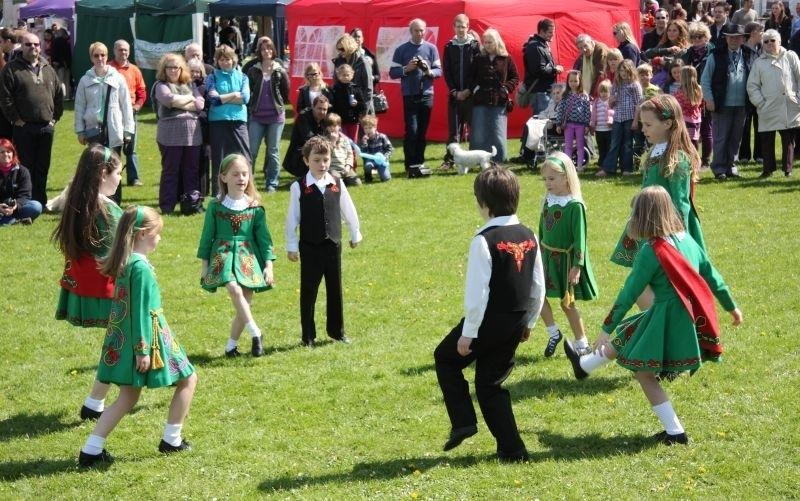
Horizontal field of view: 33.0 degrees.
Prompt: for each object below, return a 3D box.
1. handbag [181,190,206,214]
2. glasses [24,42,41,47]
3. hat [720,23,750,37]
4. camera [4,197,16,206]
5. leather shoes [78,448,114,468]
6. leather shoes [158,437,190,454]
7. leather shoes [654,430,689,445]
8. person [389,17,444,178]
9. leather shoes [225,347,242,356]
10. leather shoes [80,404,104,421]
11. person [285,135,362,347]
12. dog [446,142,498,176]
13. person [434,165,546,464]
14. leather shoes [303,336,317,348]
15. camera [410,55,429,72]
[{"bbox_3d":[-3.401,-0.796,22.229,0.262,0.423,0.401,0,2,15],"label":"handbag"},{"bbox_3d":[-6.060,-3.396,22.235,0.134,0.071,0.307,3,11,26],"label":"glasses"},{"bbox_3d":[5.793,-3.805,23.178,0.405,0.160,0.481,3,5,22],"label":"hat"},{"bbox_3d":[-6.329,-0.801,21.832,0.208,0.124,0.092,-5,9,-19],"label":"camera"},{"bbox_3d":[-3.700,2.509,16.421,0.471,0.234,0.182,-1,3,-24],"label":"leather shoes"},{"bbox_3d":[-2.781,2.410,16.609,0.407,0.192,0.161,0,4,-18],"label":"leather shoes"},{"bbox_3d":[3.318,2.240,16.386,0.378,0.191,0.163,0,3,24],"label":"leather shoes"},{"bbox_3d":[0.266,-2.800,24.370,0.804,3.037,0.858,1,-1,-6],"label":"person"},{"bbox_3d":[-2.239,1.347,18.096,0.172,0.092,0.101,0,8,-23],"label":"leather shoes"},{"bbox_3d":[-3.841,2.040,17.042,0.382,0.189,0.142,0,6,-36],"label":"leather shoes"},{"bbox_3d":[-1.056,-0.147,18.273,0.960,2.808,0.386,-2,7,-7],"label":"person"},{"bbox_3d":[1.457,-1.639,24.050,1.164,0.793,0.406,4,7,16],"label":"dog"},{"bbox_3d":[1.102,0.767,16.240,1.272,3.509,0.588,0,7,7],"label":"person"},{"bbox_3d":[-1.232,1.238,18.271,0.202,0.169,0.078,-1,3,23],"label":"leather shoes"},{"bbox_3d":[0.362,-3.320,23.964,0.249,0.300,0.123,-4,-3,7],"label":"camera"}]
